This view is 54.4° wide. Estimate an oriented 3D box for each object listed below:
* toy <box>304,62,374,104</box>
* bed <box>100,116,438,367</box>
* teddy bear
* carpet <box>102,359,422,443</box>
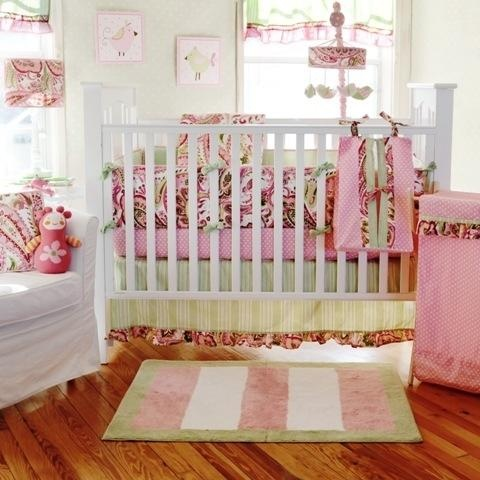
[{"bbox_3d":[0.625,-0.932,2.885,0.442,0.195,0.379,-2,3,6],"label":"toy"},{"bbox_3d":[0.046,0.195,2.018,1.378,0.925,0.753,0,6,-1],"label":"bed"},{"bbox_3d":[-0.665,0.007,1.652,0.261,0.300,0.138,0,1,-2],"label":"teddy bear"},{"bbox_3d":[0.095,0.502,1.514,0.939,0.022,0.553,0,6,2],"label":"carpet"}]
